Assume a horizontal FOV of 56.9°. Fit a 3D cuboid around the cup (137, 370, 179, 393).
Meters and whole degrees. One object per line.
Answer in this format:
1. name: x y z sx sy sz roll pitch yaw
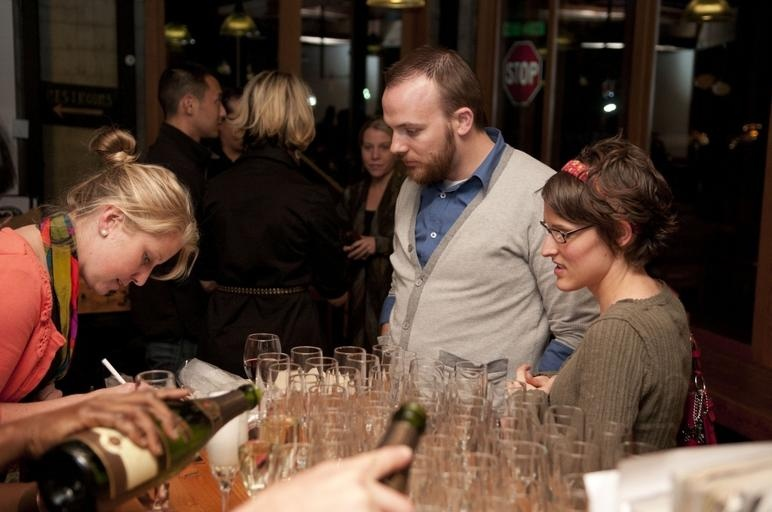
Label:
1. cup: -0.811 0.434 2.529 0.109 0.106 0.109 1 0 0
